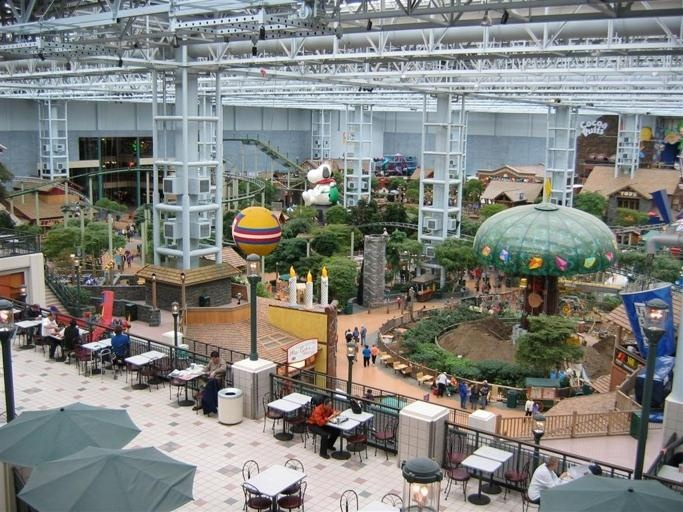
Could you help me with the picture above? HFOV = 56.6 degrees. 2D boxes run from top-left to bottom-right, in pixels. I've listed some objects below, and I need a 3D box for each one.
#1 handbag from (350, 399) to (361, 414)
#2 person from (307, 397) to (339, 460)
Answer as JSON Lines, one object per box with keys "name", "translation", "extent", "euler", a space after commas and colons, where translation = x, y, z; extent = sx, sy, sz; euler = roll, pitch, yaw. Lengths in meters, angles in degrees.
{"name": "handbag", "translation": [0.350, 4.089, 17.330], "extent": [0.224, 0.332, 0.106], "euler": [-3, -10, -42]}
{"name": "person", "translation": [-0.503, 4.679, 17.454], "extent": [0.713, 1.461, 0.622], "euler": [6, 8, 33]}
